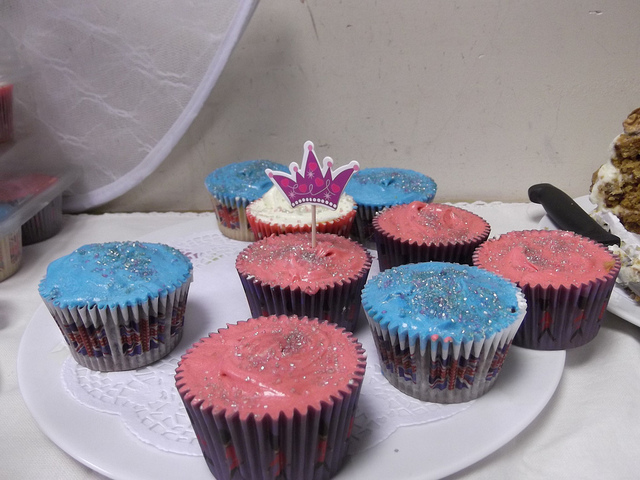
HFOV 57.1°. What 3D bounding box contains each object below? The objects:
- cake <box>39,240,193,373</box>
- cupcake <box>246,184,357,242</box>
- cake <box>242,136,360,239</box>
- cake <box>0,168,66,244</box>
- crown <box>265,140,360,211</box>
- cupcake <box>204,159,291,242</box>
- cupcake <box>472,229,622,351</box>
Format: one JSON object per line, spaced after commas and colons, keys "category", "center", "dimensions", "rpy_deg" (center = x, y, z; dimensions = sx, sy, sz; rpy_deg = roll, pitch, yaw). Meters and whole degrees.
{"category": "cake", "center": [-0.779, 0.248, 2.298], "dimensions": [0.559, 0.346, 0.396], "rpy_deg": [-5, 28, -14]}
{"category": "cupcake", "center": [-0.068, -0.147, 2.816], "dimensions": [0.453, 0.257, 0.402], "rpy_deg": [4, 28, 15]}
{"category": "cake", "center": [-0.088, -0.201, 2.677], "dimensions": [0.414, 0.558, 0.542], "rpy_deg": [-3, 26, -1]}
{"category": "cake", "center": [-1.499, -0.175, 3.167], "dimensions": [0.358, 0.262, 0.319], "rpy_deg": [4, 42, 15]}
{"category": "crown", "center": [-0.027, -0.231, 2.362], "dimensions": [0.327, 0.276, 0.195], "rpy_deg": [0, 22, 8]}
{"category": "cupcake", "center": [-0.406, -0.208, 3.040], "dimensions": [0.388, 0.280, 0.429], "rpy_deg": [-2, 28, -3]}
{"category": "cupcake", "center": [0.904, 0.143, 2.284], "dimensions": [0.468, 0.300, 0.478], "rpy_deg": [-8, 26, 4]}
